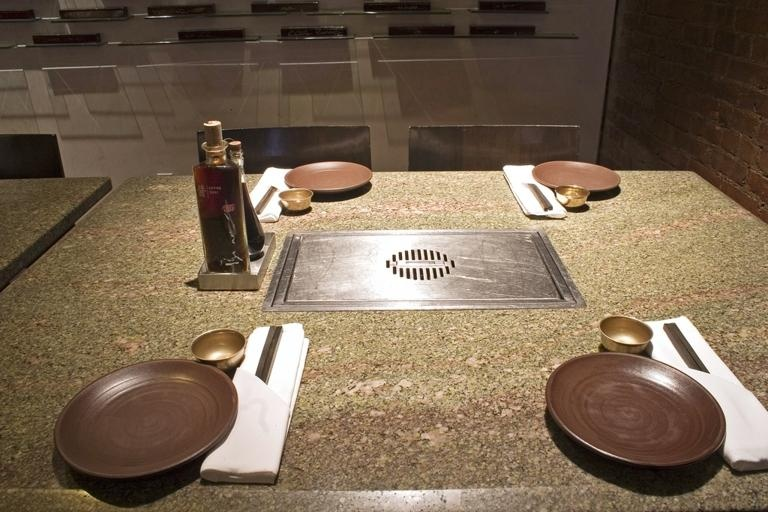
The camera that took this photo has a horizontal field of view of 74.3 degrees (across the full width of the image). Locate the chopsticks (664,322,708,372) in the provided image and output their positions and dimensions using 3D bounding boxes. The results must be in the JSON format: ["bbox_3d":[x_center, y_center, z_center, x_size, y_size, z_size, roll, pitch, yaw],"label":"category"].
[{"bbox_3d":[0.651,0.203,1.107,0.023,0.030,0.129,-42,26,23],"label":"chopsticks"}]

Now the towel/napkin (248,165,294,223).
[{"bbox_3d":[-0.381,-0.207,1.727,0.134,0.031,0.318,-4,35,3],"label":"towel/napkin"}]

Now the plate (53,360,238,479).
[{"bbox_3d":[-0.437,0.299,0.965,0.318,0.067,0.251,-1,29,0],"label":"plate"}]

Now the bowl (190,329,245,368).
[{"bbox_3d":[-0.356,0.210,1.109,0.115,0.043,0.097,-2,32,-5],"label":"bowl"}]

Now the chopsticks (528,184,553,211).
[{"bbox_3d":[0.525,-0.206,1.710,0.028,0.015,0.137,-12,33,2],"label":"chopsticks"}]

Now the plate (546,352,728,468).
[{"bbox_3d":[0.472,0.292,0.982,0.316,0.069,0.253,5,30,9],"label":"plate"}]

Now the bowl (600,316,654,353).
[{"bbox_3d":[0.534,0.180,1.144,0.096,0.034,0.094,-3,36,2],"label":"bowl"}]

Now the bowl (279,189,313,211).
[{"bbox_3d":[-0.291,-0.192,1.713,0.098,0.039,0.095,0,35,0],"label":"bowl"}]
